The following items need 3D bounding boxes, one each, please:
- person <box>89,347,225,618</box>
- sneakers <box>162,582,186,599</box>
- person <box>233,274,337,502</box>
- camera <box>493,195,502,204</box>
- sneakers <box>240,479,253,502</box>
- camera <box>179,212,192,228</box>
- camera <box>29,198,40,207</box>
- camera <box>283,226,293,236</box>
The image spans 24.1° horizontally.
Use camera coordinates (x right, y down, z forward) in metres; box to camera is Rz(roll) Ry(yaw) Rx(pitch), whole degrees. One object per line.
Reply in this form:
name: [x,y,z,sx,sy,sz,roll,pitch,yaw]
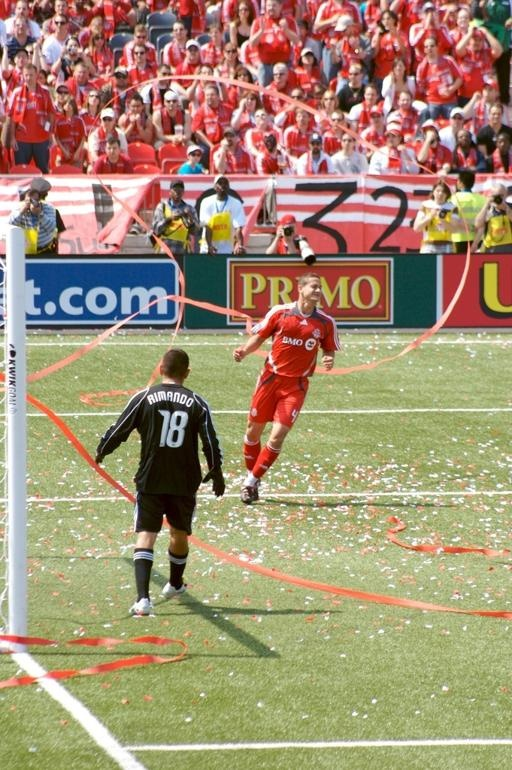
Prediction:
person: [-0.464,0.518,6.307,0.605,1.368,0.413,-6,12,-33]
sneakers: [-0.435,1.133,6.533,0.064,0.063,0.158,7,10,23]
person: [0.239,0.032,8.636,0.767,1.650,0.649,1,10,0]
camera: [3.095,-2.322,15.048,0.113,0.123,0.136,3,10,11]
sneakers: [-0.050,0.770,8.531,0.096,0.190,0.188,1,10,-1]
camera: [-0.811,-1.959,14.397,0.120,0.149,0.055,8,25,6]
camera: [-2.540,-2.068,13.710,0.079,0.058,0.086,-1,-2,0]
camera: [0.367,-1.608,12.663,0.092,0.099,0.087,8,28,5]
